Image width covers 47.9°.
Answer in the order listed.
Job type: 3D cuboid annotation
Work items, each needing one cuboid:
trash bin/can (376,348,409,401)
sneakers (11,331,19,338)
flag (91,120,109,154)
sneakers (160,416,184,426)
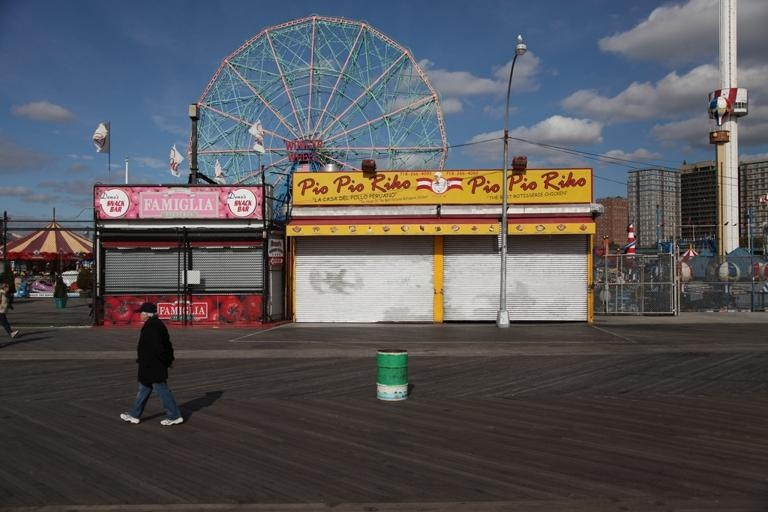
[{"bbox_3d":[0.257,3.479,25.150,0.884,1.351,0.686,2,15,2],"label":"trash bin/can"},{"bbox_3d":[-14.625,3.127,34.330,0.143,0.325,0.125,36,-22,-9],"label":"sneakers"},{"bbox_3d":[-13.764,-5.826,42.283,0.665,1.417,1.166,-4,16,-21],"label":"flag"},{"bbox_3d":[-5.754,4.532,23.703,0.640,0.258,0.236,4,-4,-4],"label":"sneakers"}]
